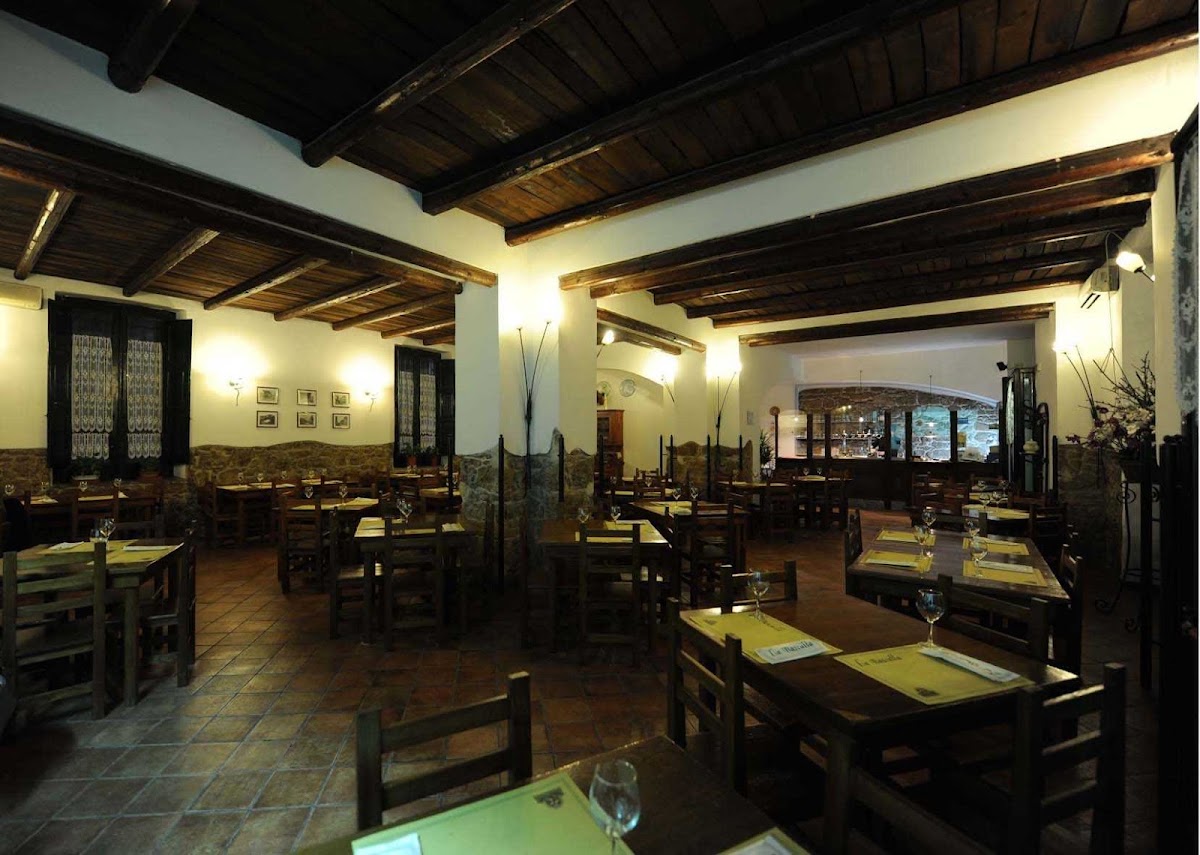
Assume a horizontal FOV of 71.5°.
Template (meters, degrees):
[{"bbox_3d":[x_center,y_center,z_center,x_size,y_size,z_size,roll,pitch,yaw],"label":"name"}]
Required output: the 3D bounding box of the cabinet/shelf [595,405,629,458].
[{"bbox_3d":[0.182,0.091,14.923,0.382,0.910,0.922,0,-2,44],"label":"cabinet/shelf"}]

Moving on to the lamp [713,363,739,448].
[{"bbox_3d":[1.991,-0.354,13.225,0.648,1.231,0.226,1,-2,-40],"label":"lamp"}]

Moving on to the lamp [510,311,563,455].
[{"bbox_3d":[-0.706,-0.427,8.960,0.518,1.512,0.250,0,-2,-9],"label":"lamp"}]

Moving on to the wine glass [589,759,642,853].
[{"bbox_3d":[0.076,1.877,4.152,0.227,0.449,0.267,0,-2,4],"label":"wine glass"}]

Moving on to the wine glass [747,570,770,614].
[{"bbox_3d":[1.045,1.064,5.546,0.120,0.225,0.419,-1,-1,10],"label":"wine glass"}]
